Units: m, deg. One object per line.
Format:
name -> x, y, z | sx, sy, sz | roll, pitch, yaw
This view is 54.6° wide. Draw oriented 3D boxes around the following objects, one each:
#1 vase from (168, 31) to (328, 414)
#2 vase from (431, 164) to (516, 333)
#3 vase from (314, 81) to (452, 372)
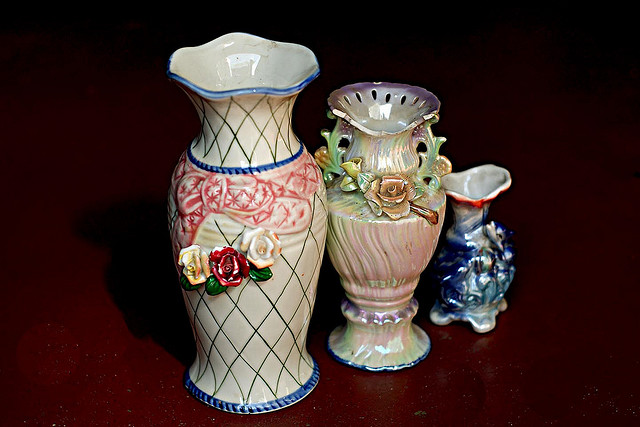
vase -> -0.276, 0.060, 2.397 | 0.603, 1.266, 0.692 | 0, 32, 2
vase -> 0.655, 0.146, 2.704 | 0.445, 0.862, 0.476 | 1, 19, 11
vase -> 0.242, 0.063, 2.596 | 0.552, 1.049, 0.582 | 6, 33, 12
